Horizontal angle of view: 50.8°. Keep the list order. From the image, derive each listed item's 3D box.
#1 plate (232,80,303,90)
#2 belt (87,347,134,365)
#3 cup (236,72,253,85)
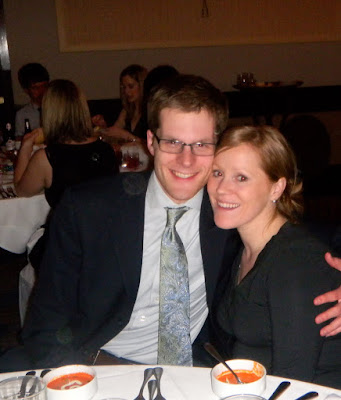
[{"bbox_3d":[1.522,-1.853,5.786,0.625,0.062,0.407,-2,10,-9],"label":"plate"},{"bbox_3d":[-0.223,0.507,1.174,0.177,0.018,0.067,2,37,6],"label":"belt"},{"bbox_3d":[1.212,-1.957,5.848,0.286,0.202,0.266,0,8,0],"label":"cup"}]
